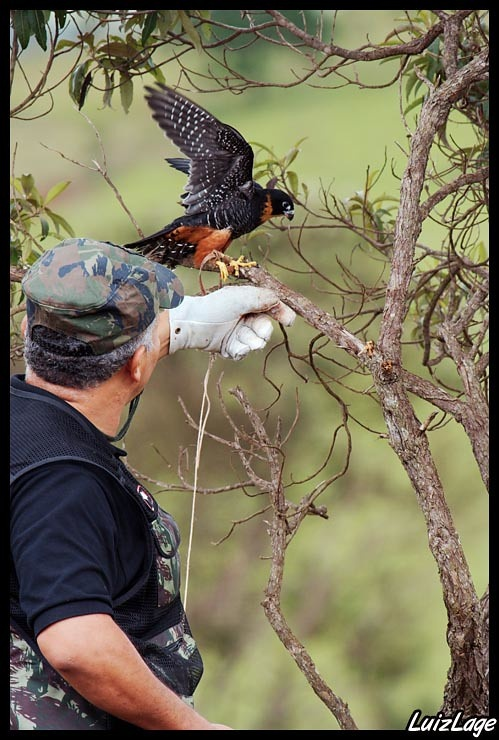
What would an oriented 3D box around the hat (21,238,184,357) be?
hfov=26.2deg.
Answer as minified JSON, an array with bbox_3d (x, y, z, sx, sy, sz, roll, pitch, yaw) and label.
[{"bbox_3d":[-0.228,-0.171,2.139,0.358,0.160,0.259,17,-3,-21],"label":"hat"}]

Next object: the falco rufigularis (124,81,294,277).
[{"bbox_3d":[-0.128,-0.610,3.742,0.623,0.587,0.752,1,2,-1],"label":"falco rufigularis"}]
